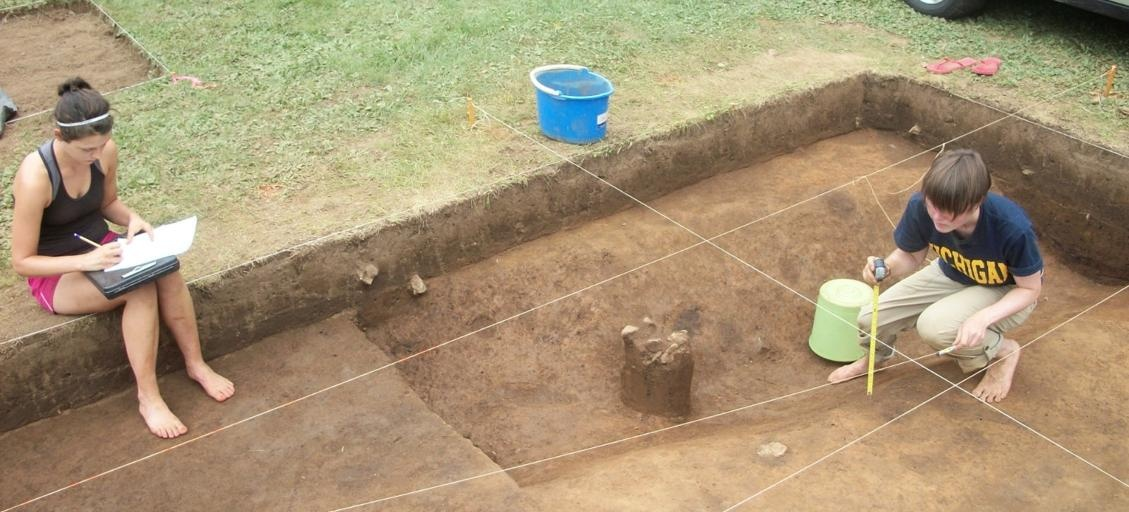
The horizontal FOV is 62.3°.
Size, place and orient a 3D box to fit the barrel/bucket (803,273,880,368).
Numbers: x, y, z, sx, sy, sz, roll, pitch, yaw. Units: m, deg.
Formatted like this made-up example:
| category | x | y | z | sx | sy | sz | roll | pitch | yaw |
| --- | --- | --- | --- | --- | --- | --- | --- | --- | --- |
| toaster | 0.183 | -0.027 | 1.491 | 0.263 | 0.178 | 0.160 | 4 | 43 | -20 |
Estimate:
| category | x | y | z | sx | sy | sz | roll | pitch | yaw |
| --- | --- | --- | --- | --- | --- | --- | --- | --- | --- |
| barrel/bucket | 2.263 | 0.515 | 7.615 | 0.661 | 0.384 | 0.702 | 0 | 90 | 29 |

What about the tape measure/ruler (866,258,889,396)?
| category | x | y | z | sx | sy | sz | roll | pitch | yaw |
| --- | --- | --- | --- | --- | --- | --- | --- | --- | --- |
| tape measure/ruler | 2.435 | 0.559 | 7.333 | 0.167 | 0.167 | 1.061 | 3 | 93 | 15 |
